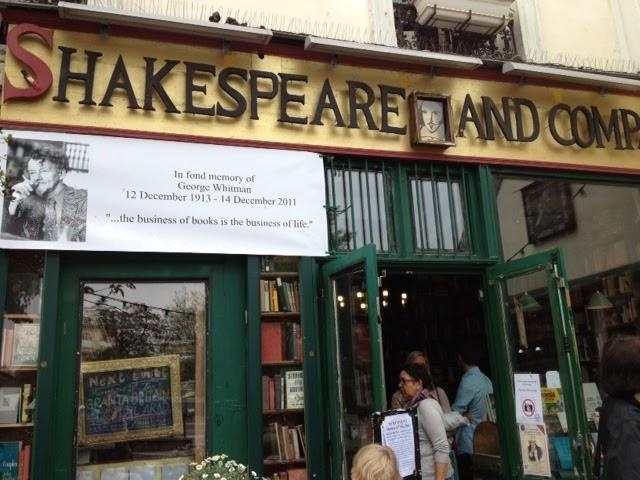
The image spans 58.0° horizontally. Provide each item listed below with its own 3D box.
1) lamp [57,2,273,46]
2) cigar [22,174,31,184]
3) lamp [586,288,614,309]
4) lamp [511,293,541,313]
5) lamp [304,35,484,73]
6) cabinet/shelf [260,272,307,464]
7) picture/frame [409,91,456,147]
[{"bbox_3d":[-1.508,-1.985,5.342,2.025,0.325,0.080,0,8,-13],"label":"lamp"},{"bbox_3d":[-2.500,-0.519,4.925,0.042,0.095,0.036,5,-29,-11],"label":"cigar"},{"bbox_3d":[3.106,0.659,6.409,0.207,0.152,0.216,-1,-2,-4],"label":"lamp"},{"bbox_3d":[1.987,0.609,5.555,0.039,0.189,0.324,3,-17,-21],"label":"lamp"},{"bbox_3d":[0.916,-1.860,5.931,1.973,0.087,0.332,5,28,-7],"label":"lamp"},{"bbox_3d":[-0.474,1.139,5.431,0.463,1.936,0.233,-3,-2,25],"label":"cabinet/shelf"},{"bbox_3d":[1.140,-1.224,5.941,0.483,0.608,0.160,6,-20,-19],"label":"picture/frame"}]
